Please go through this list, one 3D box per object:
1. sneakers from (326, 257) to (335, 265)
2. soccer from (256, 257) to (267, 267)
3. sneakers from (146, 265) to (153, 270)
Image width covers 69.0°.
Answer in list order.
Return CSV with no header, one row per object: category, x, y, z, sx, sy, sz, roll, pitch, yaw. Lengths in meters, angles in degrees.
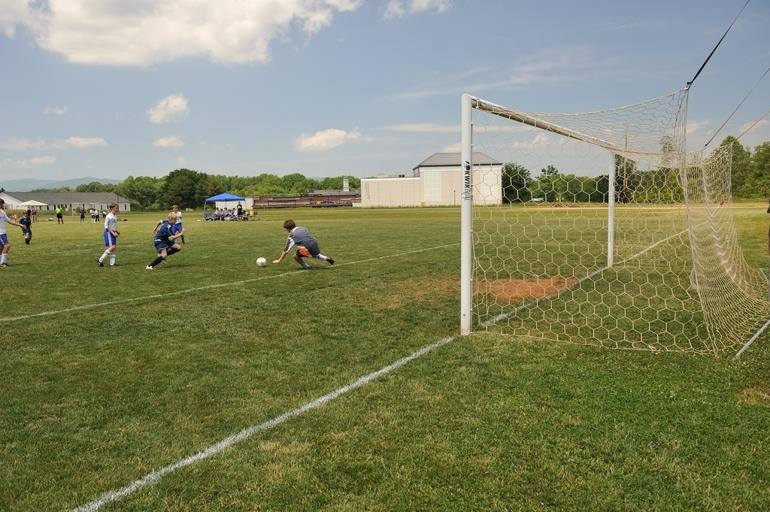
sneakers,-1.408,0.104,14.492,0.181,0.108,0.240,14,-9,17
soccer,-3.242,0.166,14.730,0.270,0.167,0.312,22,0,-19
sneakers,-6.085,0.288,14.467,0.091,0.092,0.228,-6,0,-34
